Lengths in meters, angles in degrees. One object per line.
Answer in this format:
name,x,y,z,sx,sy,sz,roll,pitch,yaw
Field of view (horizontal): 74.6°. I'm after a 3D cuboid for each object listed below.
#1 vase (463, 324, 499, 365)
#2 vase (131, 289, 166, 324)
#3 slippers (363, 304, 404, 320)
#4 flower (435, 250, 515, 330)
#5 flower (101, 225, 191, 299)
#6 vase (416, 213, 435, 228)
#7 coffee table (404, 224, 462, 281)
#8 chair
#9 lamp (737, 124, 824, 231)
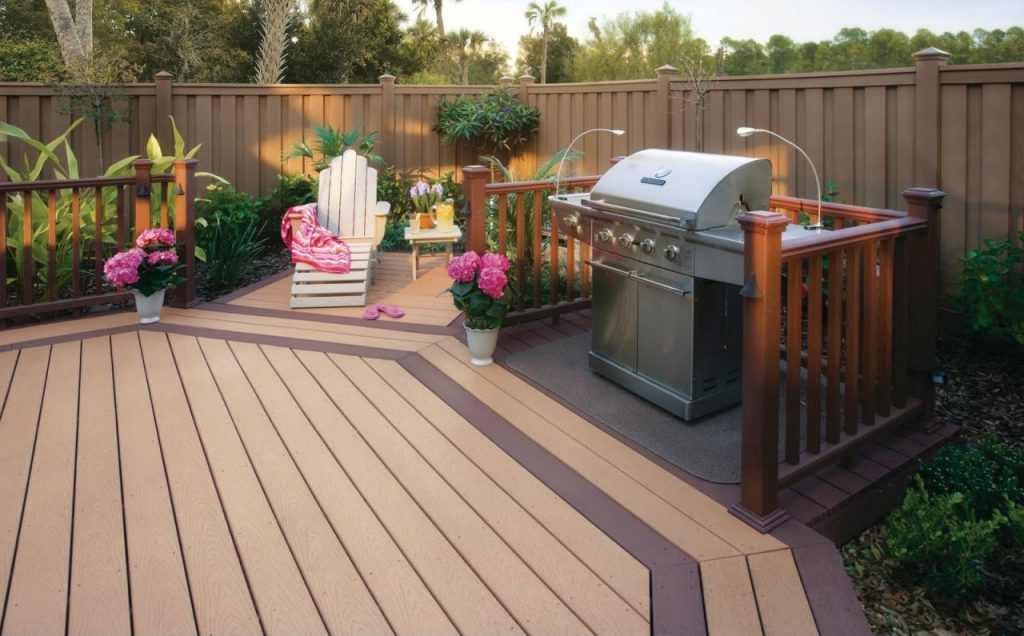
vase,-0.221,0.195,5.174,0.343,0.304,0.354,1,-8,-11
vase,-3.185,-0.111,6.001,0.266,0.254,0.276,1,7,6
slippers,-1.174,-0.075,6.152,0.369,0.065,0.353,-3,19,-10
flower,-0.241,-0.193,5.000,0.431,0.534,0.205,-1,17,-2
flower,-3.221,-0.493,5.969,0.462,0.567,0.681,15,23,39
vase,-0.914,-1.042,7.154,0.140,0.106,0.145,-1,5,-4
coffee table,-0.819,-0.896,7.320,0.681,0.772,0.850,2,19,2
chair,-1.686,-0.922,6.829,0.876,1.258,1.746,0,27,-3
lamp,2.165,-1.120,5.355,0.238,0.819,0.796,-33,33,-32
